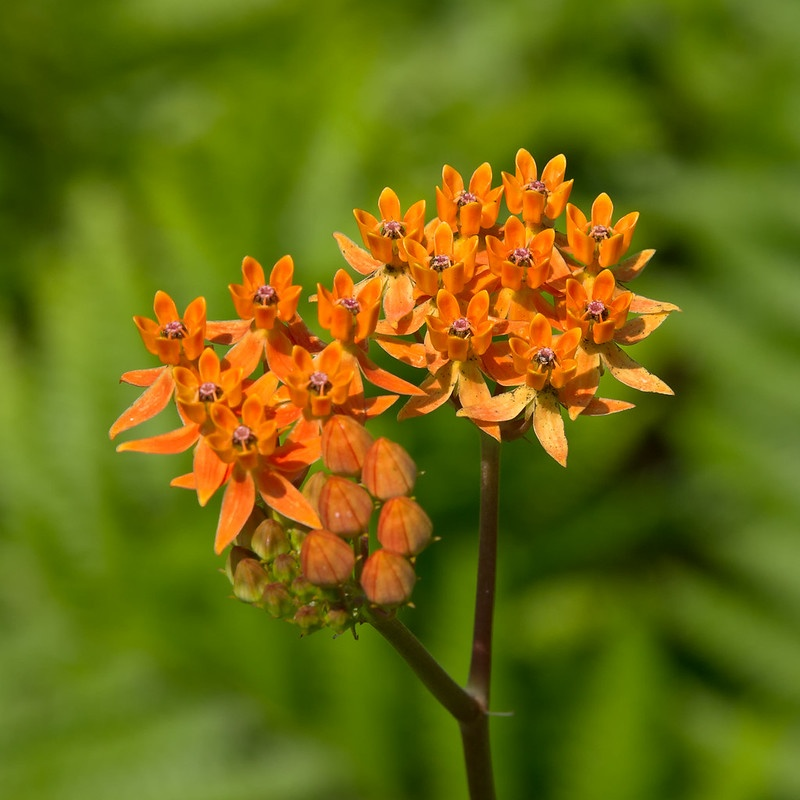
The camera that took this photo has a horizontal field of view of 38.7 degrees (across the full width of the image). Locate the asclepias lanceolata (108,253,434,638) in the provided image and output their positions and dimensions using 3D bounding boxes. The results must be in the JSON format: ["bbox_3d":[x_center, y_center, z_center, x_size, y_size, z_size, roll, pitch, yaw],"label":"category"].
[{"bbox_3d":[-0.212,0.053,1.950,0.547,0.545,0.466,0,21,9],"label":"asclepias lanceolata"}]

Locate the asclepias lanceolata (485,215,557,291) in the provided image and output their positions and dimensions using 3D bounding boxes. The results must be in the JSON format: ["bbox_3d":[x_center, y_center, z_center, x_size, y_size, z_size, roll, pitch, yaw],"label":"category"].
[{"bbox_3d":[0.215,-0.270,2.040,0.114,0.125,0.143,-1,21,6],"label":"asclepias lanceolata"}]

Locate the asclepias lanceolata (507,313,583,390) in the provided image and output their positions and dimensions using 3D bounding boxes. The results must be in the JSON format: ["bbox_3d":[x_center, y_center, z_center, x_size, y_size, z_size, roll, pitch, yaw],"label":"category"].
[{"bbox_3d":[0.253,-0.096,1.981,0.122,0.138,0.137,-1,21,6],"label":"asclepias lanceolata"}]

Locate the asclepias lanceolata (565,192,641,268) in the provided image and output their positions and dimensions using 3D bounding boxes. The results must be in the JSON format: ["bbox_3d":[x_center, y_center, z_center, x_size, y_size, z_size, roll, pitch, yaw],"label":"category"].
[{"bbox_3d":[0.369,-0.301,2.127,0.122,0.140,0.142,5,42,1],"label":"asclepias lanceolata"}]

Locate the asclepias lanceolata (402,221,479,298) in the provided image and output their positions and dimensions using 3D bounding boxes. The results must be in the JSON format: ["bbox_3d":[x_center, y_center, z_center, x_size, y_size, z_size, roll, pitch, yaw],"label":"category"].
[{"bbox_3d":[0.071,-0.229,2.017,0.124,0.100,0.137,-3,47,1],"label":"asclepias lanceolata"}]

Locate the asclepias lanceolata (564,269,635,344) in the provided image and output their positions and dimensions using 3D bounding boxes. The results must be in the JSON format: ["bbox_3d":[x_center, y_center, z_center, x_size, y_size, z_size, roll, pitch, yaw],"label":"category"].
[{"bbox_3d":[0.342,-0.161,1.979,0.101,0.097,0.135,-2,54,-5],"label":"asclepias lanceolata"}]

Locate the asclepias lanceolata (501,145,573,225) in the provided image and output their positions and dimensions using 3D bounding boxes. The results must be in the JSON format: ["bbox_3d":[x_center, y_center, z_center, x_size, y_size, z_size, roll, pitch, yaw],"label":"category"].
[{"bbox_3d":[0.254,-0.391,2.107,0.122,0.121,0.150,5,-16,8],"label":"asclepias lanceolata"}]

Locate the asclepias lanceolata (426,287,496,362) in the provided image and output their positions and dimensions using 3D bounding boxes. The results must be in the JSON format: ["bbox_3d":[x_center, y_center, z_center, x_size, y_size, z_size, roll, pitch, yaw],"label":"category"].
[{"bbox_3d":[0.118,-0.157,1.993,0.115,0.084,0.155,1,8,12],"label":"asclepias lanceolata"}]

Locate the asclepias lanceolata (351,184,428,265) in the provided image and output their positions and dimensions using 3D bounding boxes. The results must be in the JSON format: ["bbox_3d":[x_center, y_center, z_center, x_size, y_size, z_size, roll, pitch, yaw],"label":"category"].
[{"bbox_3d":[-0.013,-0.283,2.055,0.105,0.099,0.103,12,30,34],"label":"asclepias lanceolata"}]
